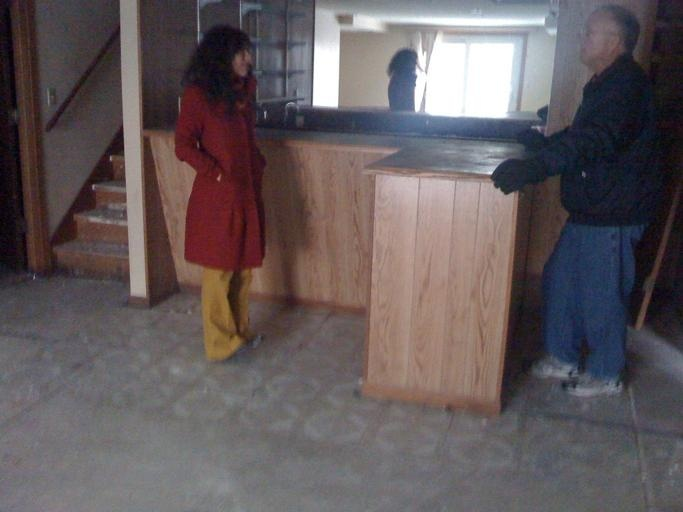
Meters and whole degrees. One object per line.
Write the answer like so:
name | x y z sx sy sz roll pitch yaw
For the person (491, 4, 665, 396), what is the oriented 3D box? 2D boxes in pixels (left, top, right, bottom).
person | 1.189 -0.198 2.769 0.555 1.881 0.701 12 22 27

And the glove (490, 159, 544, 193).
glove | 0.778 -0.365 2.524 0.183 0.089 0.157 2 35 14
